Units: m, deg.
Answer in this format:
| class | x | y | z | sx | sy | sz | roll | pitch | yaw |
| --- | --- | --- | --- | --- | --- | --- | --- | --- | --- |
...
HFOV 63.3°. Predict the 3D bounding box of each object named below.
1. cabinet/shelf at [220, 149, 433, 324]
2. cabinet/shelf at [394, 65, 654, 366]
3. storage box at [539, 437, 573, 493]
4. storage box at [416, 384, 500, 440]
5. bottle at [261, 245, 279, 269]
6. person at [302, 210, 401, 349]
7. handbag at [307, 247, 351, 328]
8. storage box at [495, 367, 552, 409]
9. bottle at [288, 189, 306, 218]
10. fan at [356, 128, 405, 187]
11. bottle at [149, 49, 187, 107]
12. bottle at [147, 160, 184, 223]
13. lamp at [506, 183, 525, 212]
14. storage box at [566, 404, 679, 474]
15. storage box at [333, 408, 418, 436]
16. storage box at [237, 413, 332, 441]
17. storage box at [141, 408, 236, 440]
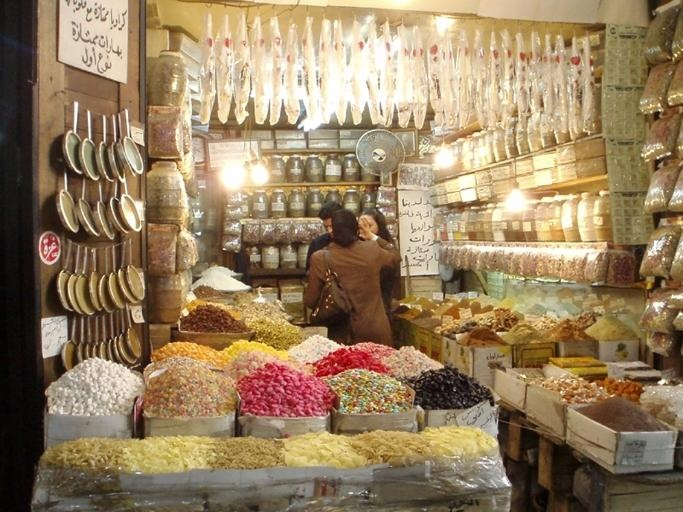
| class | x | y | z | sx | sy | sz | roll | pitch | yaw |
| --- | --- | --- | --- | --- | --- | --- | --- | --- | --- |
| cabinet/shelf | -0.134 | -0.205 | 5.381 | 1.804 | 1.681 | 0.597 | 0 | 24 | 3 |
| cabinet/shelf | 1.395 | -0.310 | 4.161 | 0.413 | 1.143 | 2.497 | -2 | 2 | -16 |
| storage box | 1.137 | 1.121 | 3.048 | 0.144 | 0.148 | 0.200 | -39 | 3 | 33 |
| storage box | 0.527 | 0.685 | 2.500 | 0.231 | 0.144 | 0.230 | -1 | -2 | -11 |
| bottle | -0.824 | 0.000 | 6.152 | 0.229 | 0.355 | 0.240 | -1 | -2 | 0 |
| person | 0.100 | 0.345 | 4.068 | 0.736 | 1.363 | 0.478 | -7 | 23 | -3 |
| handbag | -0.077 | 0.253 | 3.837 | 0.253 | 0.532 | 0.235 | -2 | 3 | -20 |
| storage box | 1.109 | 0.756 | 3.389 | 0.343 | 0.145 | 0.254 | -1 | 6 | -36 |
| bottle | -0.504 | -0.593 | 6.179 | 0.272 | 0.408 | 0.284 | 0 | 0 | 0 |
| fan | 0.336 | -1.022 | 5.660 | 0.490 | 0.486 | 0.114 | 2 | 11 | -21 |
| bottle | -1.063 | -1.102 | 3.392 | 0.216 | 0.314 | 0.236 | 8 | 23 | -4 |
| bottle | -1.081 | -0.391 | 3.420 | 0.268 | 0.386 | 0.263 | -1 | 5 | 0 |
| lamp | 1.468 | -0.485 | 4.697 | 0.196 | 0.280 | 0.201 | 3 | 7 | 28 |
| storage box | 1.358 | 0.807 | 2.626 | 0.316 | 0.202 | 0.314 | -2 | 7 | -21 |
| storage box | 0.139 | 0.713 | 2.367 | 0.368 | 0.105 | 0.066 | 0 | 3 | -3 |
| storage box | -0.240 | 0.690 | 2.280 | 0.364 | 0.094 | 0.059 | -1 | 3 | -10 |
| storage box | -0.620 | 0.692 | 2.243 | 0.348 | 0.100 | 0.060 | -1 | 3 | -9 |
